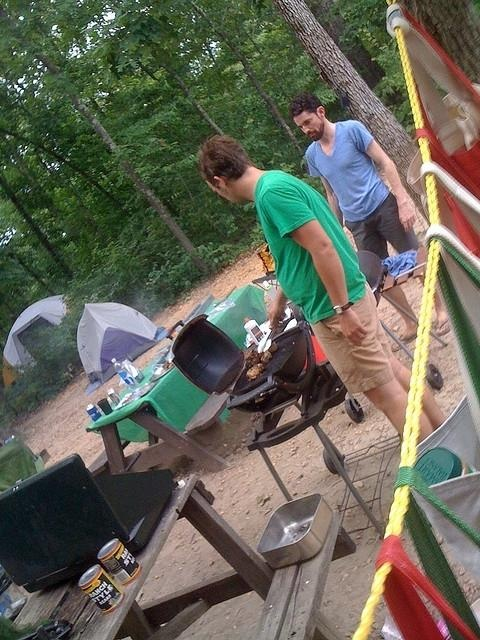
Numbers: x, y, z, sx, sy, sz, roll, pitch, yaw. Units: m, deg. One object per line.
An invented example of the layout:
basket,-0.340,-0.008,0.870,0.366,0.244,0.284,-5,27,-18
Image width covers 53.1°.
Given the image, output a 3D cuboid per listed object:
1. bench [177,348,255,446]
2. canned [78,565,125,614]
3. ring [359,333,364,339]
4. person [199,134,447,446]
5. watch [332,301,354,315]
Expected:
bench,-0.270,0.885,5.283,0.855,0.096,0.854,-57,15,-18
canned,-0.528,1.035,1.849,0.129,0.193,0.123,-33,20,18
ring,0.600,0.076,2.370,0.005,0.020,0.021,19,51,30
person,0.481,-0.084,2.630,0.603,2.118,0.808,-29,2,-1
watch,0.512,-0.060,2.388,0.091,0.050,0.088,-15,8,-29
